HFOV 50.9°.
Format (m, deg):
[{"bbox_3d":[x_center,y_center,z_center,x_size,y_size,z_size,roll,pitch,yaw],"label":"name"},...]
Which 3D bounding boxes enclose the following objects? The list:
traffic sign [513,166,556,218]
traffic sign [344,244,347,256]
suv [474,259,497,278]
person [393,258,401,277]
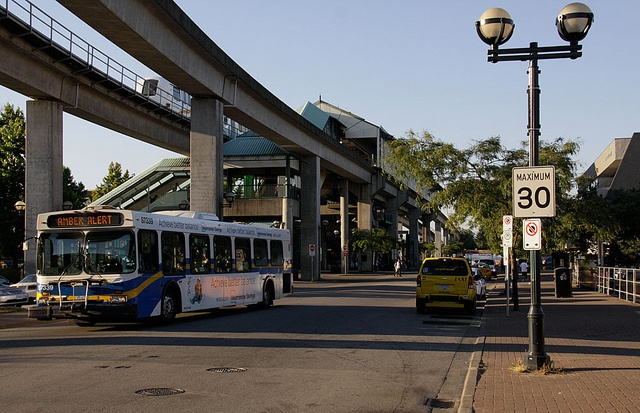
[{"bbox_3d":[5.713,-0.368,17.994,1.225,1.592,0.173,0,-2,11],"label":"traffic sign"},{"bbox_3d":[2.659,4.657,70.466,0.446,1.023,1.169,0,-1,-2],"label":"traffic sign"},{"bbox_3d":[16.427,6.437,65.964,1.742,1.669,3.990,-1,3,9],"label":"suv"},{"bbox_3d":[8.237,6.520,71.556,0.396,1.475,1.201,0,-1,15],"label":"person"}]
